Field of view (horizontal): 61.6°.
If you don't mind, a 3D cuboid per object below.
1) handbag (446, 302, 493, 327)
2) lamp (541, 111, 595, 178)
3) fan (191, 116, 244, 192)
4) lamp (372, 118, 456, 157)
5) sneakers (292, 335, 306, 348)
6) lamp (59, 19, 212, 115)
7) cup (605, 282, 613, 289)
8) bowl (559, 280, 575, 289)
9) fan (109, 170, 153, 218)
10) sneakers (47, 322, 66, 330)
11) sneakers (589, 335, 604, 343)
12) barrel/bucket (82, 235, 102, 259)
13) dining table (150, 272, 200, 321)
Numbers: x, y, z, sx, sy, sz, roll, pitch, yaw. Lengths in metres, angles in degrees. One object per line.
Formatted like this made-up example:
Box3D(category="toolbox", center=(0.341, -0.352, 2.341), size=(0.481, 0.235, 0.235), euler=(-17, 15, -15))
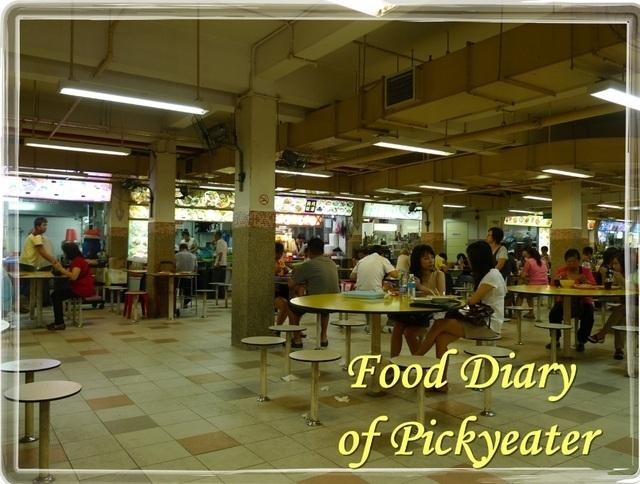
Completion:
Box3D(category="handbag", center=(1.680, 0.812, 6.023), size=(0.378, 0.142, 0.342), euler=(-3, -5, 37))
Box3D(category="lamp", center=(5.094, -1.971, 11.052), size=(0.883, 1.323, 2.469), euler=(0, 0, 23))
Box3D(category="fan", center=(-1.735, -1.464, 9.497), size=(0.843, 1.109, 0.769), euler=(3, -3, -13))
Box3D(category="lamp", center=(1.790, -1.752, 9.859), size=(1.193, 0.411, 2.773), euler=(0, 0, 16))
Box3D(category="sneakers", center=(-0.342, 1.507, 8.138), size=(0.121, 0.129, 0.311), euler=(1, -4, -20))
Box3D(category="lamp", center=(-2.521, -2.322, 6.880), size=(1.828, 1.200, 1.393), euler=(0, 0, 11))
Box3D(category="cup", center=(4.162, 0.629, 7.729), size=(0.095, 0.090, 0.090), euler=(-1, 3, 0))
Box3D(category="bowl", center=(3.572, 0.609, 7.754), size=(0.143, 0.077, 0.145), euler=(-2, -3, 0))
Box3D(category="fan", center=(-5.582, -1.186, 15.664), size=(1.061, 1.139, 0.793), euler=(0, 0, -24))
Box3D(category="sneakers", center=(-4.616, 1.480, 9.351), size=(0.120, 0.073, 0.216), euler=(-3, -10, 35))
Box3D(category="sneakers", center=(4.285, 1.494, 8.249), size=(0.327, 0.110, 0.120), euler=(15, -14, -29))
Box3D(category="barrel/bucket", center=(-6.627, 0.153, 15.485), size=(0.714, 0.729, 0.684), euler=(1, 1, 0))
Box3D(category="dining table", center=(-2.966, 1.088, 11.297), size=(1.044, 0.951, 0.993), euler=(0, 0, -35))
